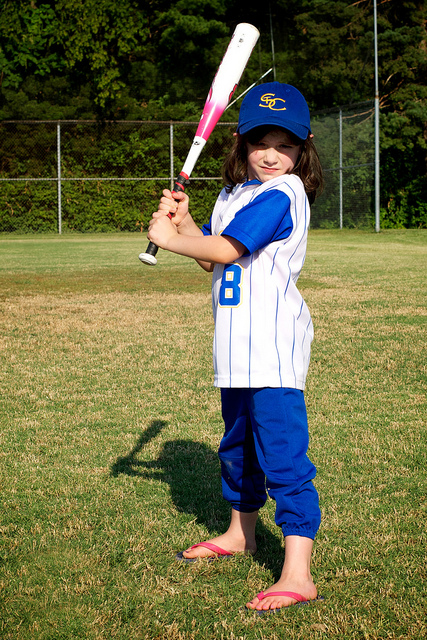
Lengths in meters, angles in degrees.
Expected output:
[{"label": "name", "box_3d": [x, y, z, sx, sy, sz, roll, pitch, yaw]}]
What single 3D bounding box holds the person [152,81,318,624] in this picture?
[{"label": "person", "box_3d": [0.061, 0.029, 2.005, 0.457, 1.386, 0.574, 1, 4, -3]}]
